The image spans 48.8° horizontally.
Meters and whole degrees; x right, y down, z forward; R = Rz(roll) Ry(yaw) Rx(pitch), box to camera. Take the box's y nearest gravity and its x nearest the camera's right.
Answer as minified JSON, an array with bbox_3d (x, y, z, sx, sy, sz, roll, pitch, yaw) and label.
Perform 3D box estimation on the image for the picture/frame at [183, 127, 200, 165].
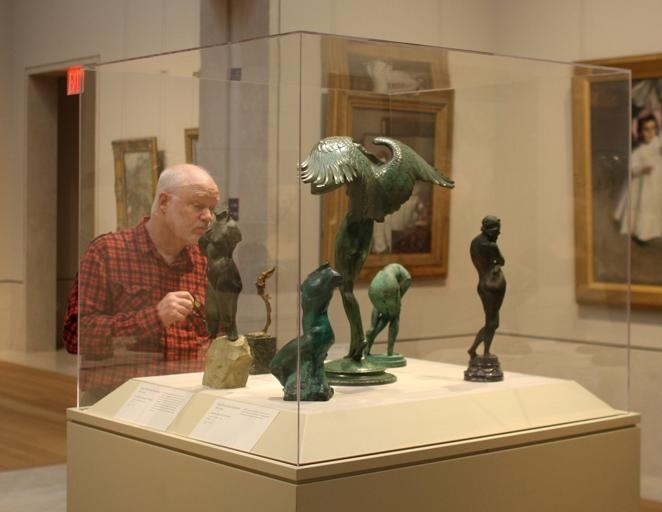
[{"bbox_3d":[-0.532,-0.421,2.810,0.086,0.138,0.016,-6,-9,40],"label":"picture/frame"}]
